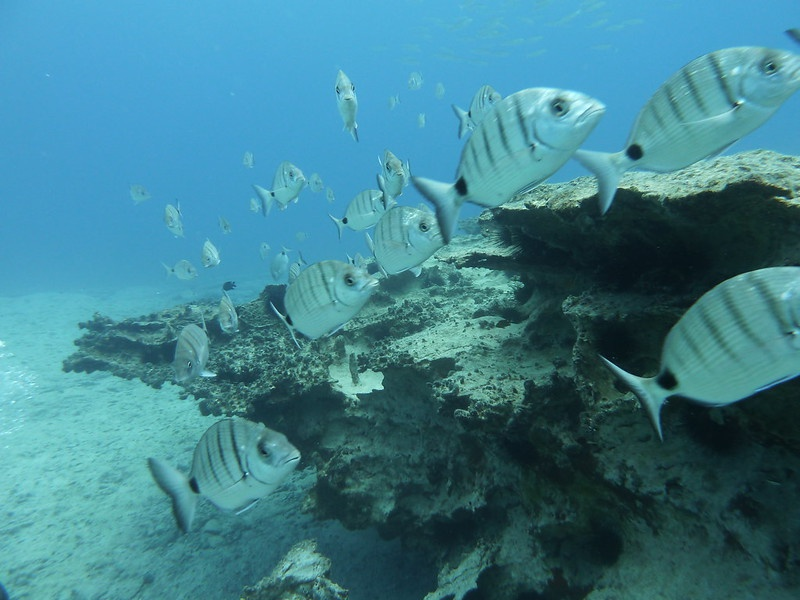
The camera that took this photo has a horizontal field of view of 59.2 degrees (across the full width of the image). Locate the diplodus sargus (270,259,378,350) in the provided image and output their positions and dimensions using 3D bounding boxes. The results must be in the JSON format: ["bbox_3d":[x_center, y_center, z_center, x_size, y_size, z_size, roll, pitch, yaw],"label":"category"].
[{"bbox_3d":[-0.951,0.022,9.297,1.227,1.029,0.627,-2,41,-3],"label":"diplodus sargus"}]
